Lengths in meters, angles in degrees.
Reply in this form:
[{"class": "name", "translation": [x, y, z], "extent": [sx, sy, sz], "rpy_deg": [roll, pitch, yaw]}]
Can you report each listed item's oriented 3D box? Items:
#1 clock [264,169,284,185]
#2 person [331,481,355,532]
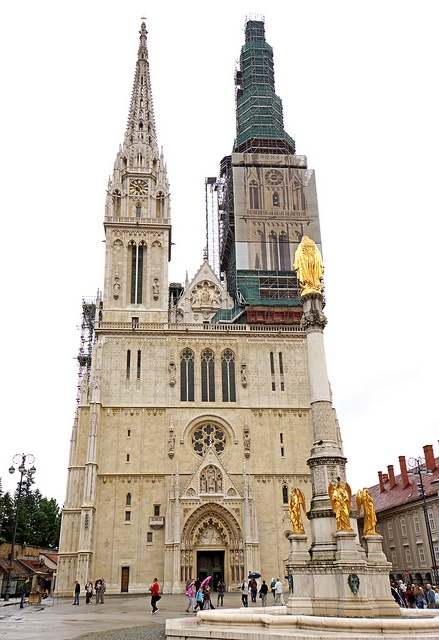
[{"class": "clock", "translation": [6.386, -17.094, 66.542], "extent": [1.996, 2.297, 0.099], "rpy_deg": [3, -23, -1]}, {"class": "person", "translation": [4.084, 6.160, 18.792], "extent": [0.708, 1.719, 0.998], "rpy_deg": [-7, -27, 10]}]
